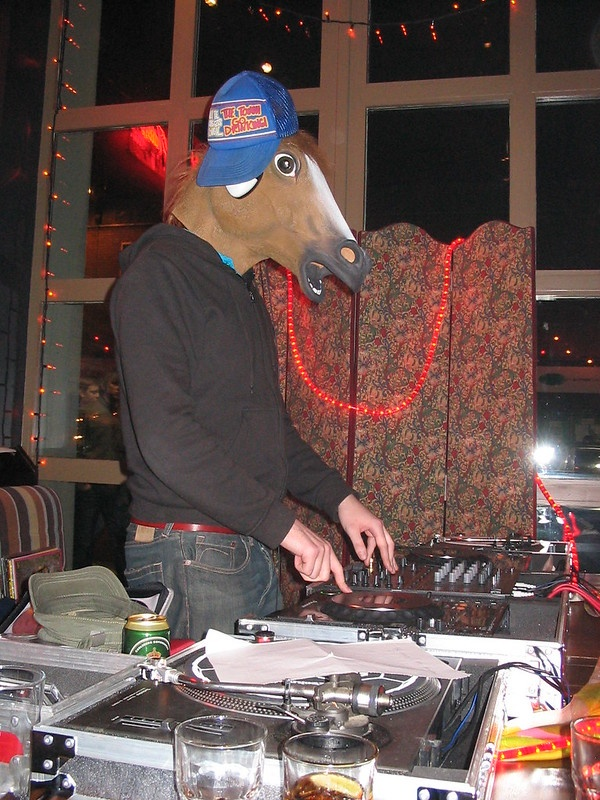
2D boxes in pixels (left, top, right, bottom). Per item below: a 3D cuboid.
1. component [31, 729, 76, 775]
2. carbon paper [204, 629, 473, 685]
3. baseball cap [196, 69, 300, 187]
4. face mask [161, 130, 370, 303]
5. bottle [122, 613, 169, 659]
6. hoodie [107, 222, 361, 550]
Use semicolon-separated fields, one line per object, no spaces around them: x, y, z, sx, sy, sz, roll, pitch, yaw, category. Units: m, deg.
-0.189;0.259;0.550;0.043;0.033;0.009;0;7;-4;component
0.020;0.240;0.697;0.208;0.035;0.206;3;-2;-13;carbon paper
-0.097;-0.467;1.372;0.183;0.200;0.173;1;7;22;baseball cap
-0.053;-0.338;1.481;0.325;0.319;0.320;-6;10;-35;face mask
-0.167;0.253;0.798;0.055;0.052;0.051;0;-2;14;bottle
-0.120;-0.043;1.316;0.460;0.540;0.454;3;-2;1;hoodie
